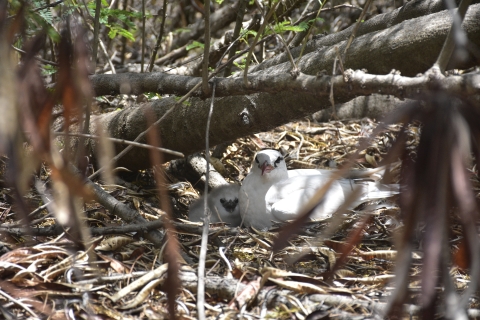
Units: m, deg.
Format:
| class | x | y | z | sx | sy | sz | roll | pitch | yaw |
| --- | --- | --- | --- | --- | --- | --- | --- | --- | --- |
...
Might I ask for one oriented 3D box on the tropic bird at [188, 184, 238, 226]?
| class | x | y | z | sx | sy | sz | roll | pitch | yaw |
| --- | --- | --- | --- | --- | --- | --- | --- | --- | --- |
| tropic bird | -0.180 | 0.369 | 4.381 | 0.302 | 0.237 | 0.398 | -5 | -1 | -42 |
